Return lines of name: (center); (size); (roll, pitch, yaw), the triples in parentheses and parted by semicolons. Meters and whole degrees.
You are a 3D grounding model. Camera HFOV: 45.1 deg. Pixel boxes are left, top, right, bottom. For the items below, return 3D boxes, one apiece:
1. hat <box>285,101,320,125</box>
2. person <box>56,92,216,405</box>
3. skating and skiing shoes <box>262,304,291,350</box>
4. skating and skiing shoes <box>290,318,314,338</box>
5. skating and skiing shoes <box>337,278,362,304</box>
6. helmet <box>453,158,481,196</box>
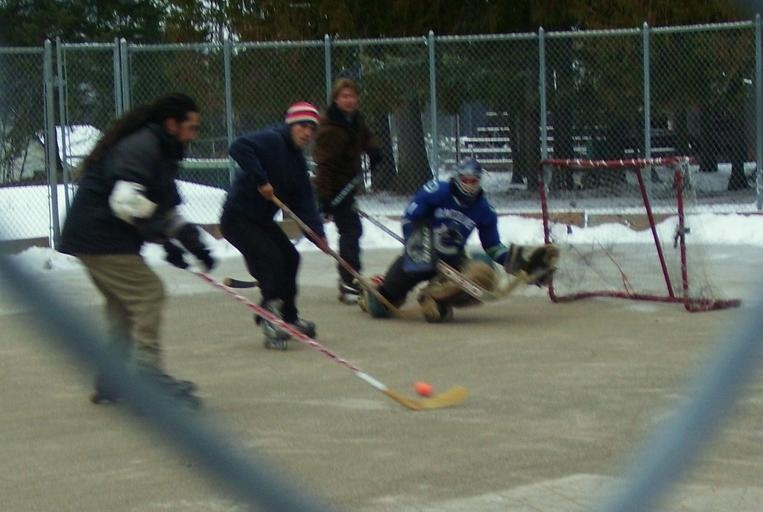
hat: (-0.694, -1.306, 7.976); (0.250, 0.204, 0.256); (3, 15, -30)
person: (-1.722, -0.041, 6.433); (1.002, 2.171, 0.553); (-4, 5, -14)
skating and skiing shoes: (-0.896, 0.601, 7.832); (0.124, 0.380, 0.252); (-13, -5, 41)
skating and skiing shoes: (-0.670, 0.636, 8.029); (0.178, 0.068, 0.131); (25, 2, -35)
skating and skiing shoes: (-0.325, 0.354, 9.391); (0.254, 0.268, 0.206); (3, 6, 15)
helmet: (0.797, -0.715, 8.448); (0.282, 0.337, 0.220); (-3, 5, 8)
